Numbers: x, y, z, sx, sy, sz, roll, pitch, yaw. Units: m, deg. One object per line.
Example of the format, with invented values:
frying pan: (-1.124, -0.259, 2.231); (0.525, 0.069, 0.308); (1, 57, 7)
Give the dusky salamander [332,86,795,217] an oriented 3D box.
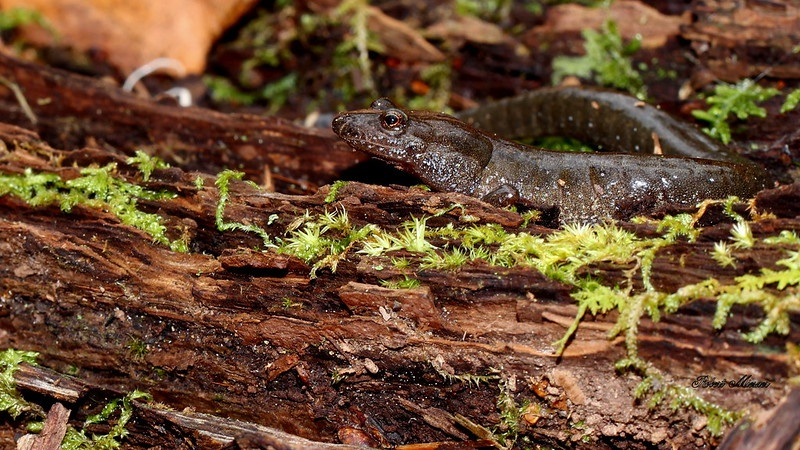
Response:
dusky salamander: (1.456, -0.654, 7.108); (3.476, 0.567, 1.724); (4, 22, 6)
